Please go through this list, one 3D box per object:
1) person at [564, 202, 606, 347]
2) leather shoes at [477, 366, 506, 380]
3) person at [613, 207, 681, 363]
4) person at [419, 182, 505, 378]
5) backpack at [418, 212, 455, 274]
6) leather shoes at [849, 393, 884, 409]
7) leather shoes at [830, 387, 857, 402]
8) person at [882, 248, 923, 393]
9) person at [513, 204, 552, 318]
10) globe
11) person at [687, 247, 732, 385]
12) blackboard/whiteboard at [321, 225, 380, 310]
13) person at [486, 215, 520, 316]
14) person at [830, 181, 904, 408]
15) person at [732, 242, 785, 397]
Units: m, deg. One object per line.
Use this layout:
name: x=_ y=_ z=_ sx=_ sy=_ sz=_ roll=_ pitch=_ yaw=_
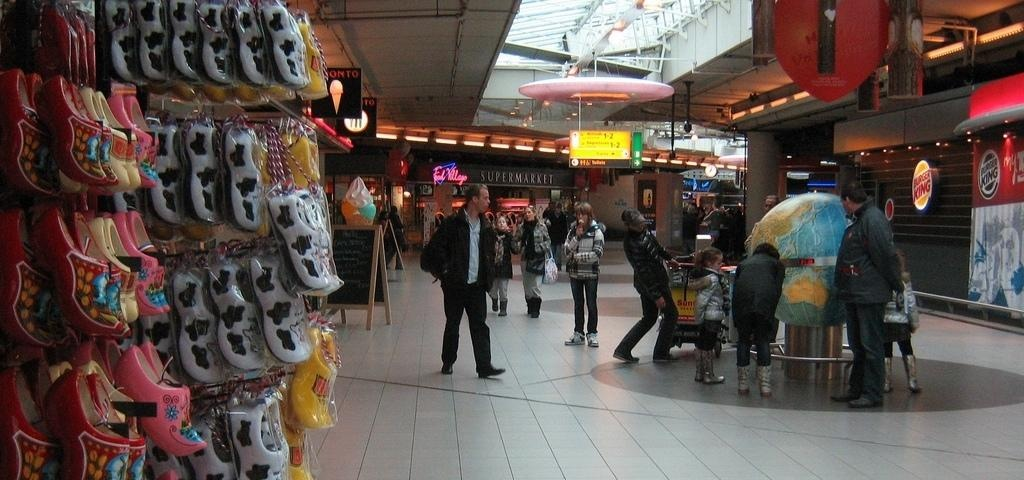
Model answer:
person: x=1.159 y=0.552 z=11.380 sx=0.595 sy=2.284 sz=1.306 roll=1 pitch=11 yaw=5
leather shoes: x=-0.308 y=1.781 z=9.315 sx=0.447 sy=0.160 sz=0.137 roll=-4 pitch=8 yaw=-3
person: x=2.003 y=0.649 z=10.098 sx=1.061 sy=2.087 sz=0.863 roll=0 pitch=1 yaw=-3
person: x=-0.695 y=0.516 z=9.622 sx=1.167 sy=2.575 sz=1.229 roll=-1 pitch=0 yaw=-12
backpack: x=-1.106 y=0.064 z=9.329 sx=0.353 sy=0.812 sz=0.516 roll=10 pitch=5 yaw=0
leather shoes: x=4.272 y=1.953 z=8.399 sx=0.431 sy=0.151 sz=0.161 roll=1 pitch=-1 yaw=-3
leather shoes: x=4.128 y=1.916 z=8.575 sx=0.365 sy=0.127 sz=0.123 roll=-1 pitch=0 yaw=0
person: x=4.887 y=0.988 z=8.941 sx=0.606 sy=1.833 sz=0.738 roll=2 pitch=2 yaw=43
person: x=0.367 y=0.395 z=13.463 sx=0.802 sy=2.021 sz=1.054 roll=1 pitch=1 yaw=-5
globe: x=3.872 y=0.194 z=9.927 sx=1.789 sy=1.738 sz=1.720 roll=4 pitch=5 yaw=27
person: x=2.562 y=0.983 z=9.276 sx=0.483 sy=1.568 sz=0.652 roll=0 pitch=-1 yaw=-3
blackboard/whiteboard: x=-2.478 y=0.426 z=10.649 sx=0.914 sy=1.471 sz=0.864 roll=3 pitch=2 yaw=41
person: x=0.371 y=0.381 z=13.420 sx=0.877 sy=2.041 sz=0.768 roll=-1 pitch=1 yaw=13
person: x=4.346 y=0.685 z=8.693 sx=0.927 sy=2.454 sz=0.937 roll=1 pitch=0 yaw=22
person: x=3.039 y=0.971 z=8.917 sx=0.647 sy=1.888 sz=0.870 roll=2 pitch=1 yaw=34
